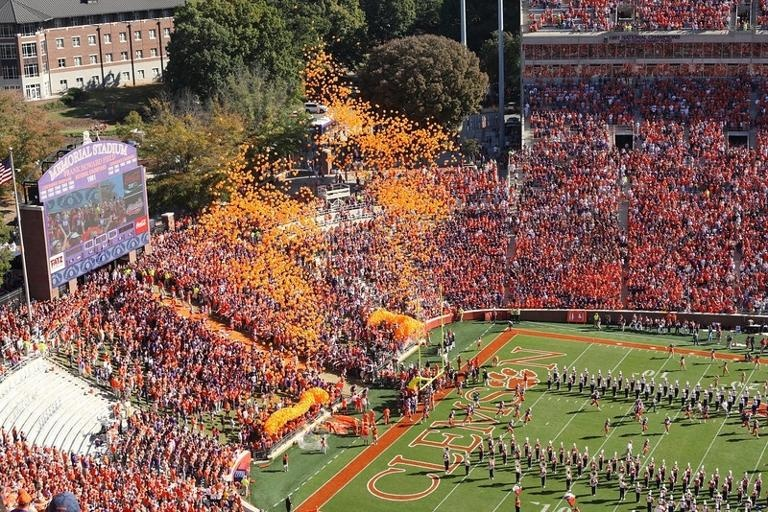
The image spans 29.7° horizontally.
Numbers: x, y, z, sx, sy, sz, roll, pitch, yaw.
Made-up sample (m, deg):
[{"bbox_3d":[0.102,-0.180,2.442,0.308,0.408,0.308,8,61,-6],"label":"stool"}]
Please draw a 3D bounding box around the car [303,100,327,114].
[{"bbox_3d":[-7.395,-16.232,155.817,2.674,1.499,1.660,1,19,5],"label":"car"}]
